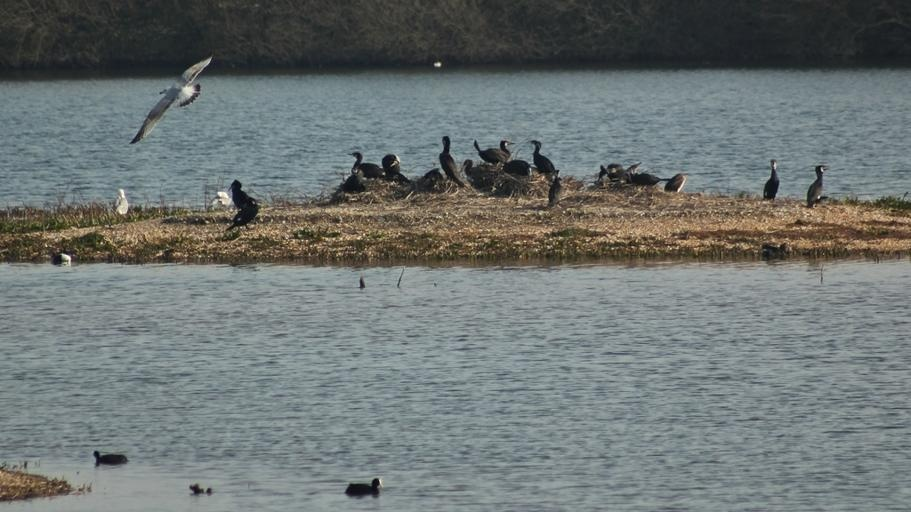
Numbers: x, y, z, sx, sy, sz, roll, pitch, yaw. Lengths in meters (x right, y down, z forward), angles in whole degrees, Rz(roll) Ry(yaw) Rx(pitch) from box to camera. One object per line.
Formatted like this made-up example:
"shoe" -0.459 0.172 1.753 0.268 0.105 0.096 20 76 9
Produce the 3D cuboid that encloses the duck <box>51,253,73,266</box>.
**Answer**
"duck" -27.324 0.287 140.929 1.114 0.481 1.020 2 2 -29
